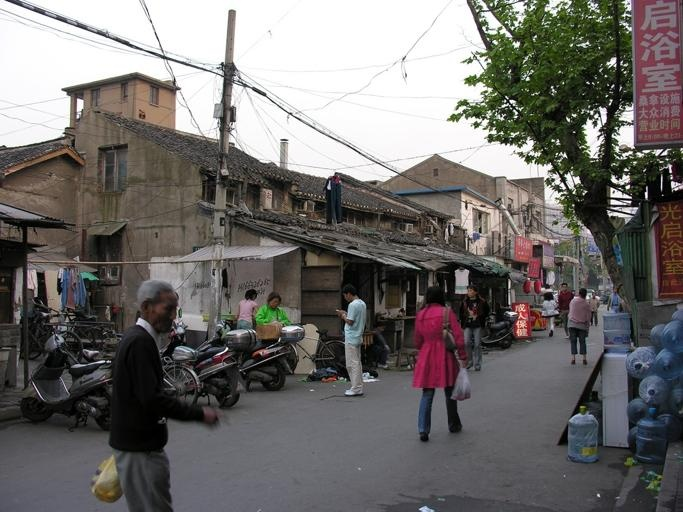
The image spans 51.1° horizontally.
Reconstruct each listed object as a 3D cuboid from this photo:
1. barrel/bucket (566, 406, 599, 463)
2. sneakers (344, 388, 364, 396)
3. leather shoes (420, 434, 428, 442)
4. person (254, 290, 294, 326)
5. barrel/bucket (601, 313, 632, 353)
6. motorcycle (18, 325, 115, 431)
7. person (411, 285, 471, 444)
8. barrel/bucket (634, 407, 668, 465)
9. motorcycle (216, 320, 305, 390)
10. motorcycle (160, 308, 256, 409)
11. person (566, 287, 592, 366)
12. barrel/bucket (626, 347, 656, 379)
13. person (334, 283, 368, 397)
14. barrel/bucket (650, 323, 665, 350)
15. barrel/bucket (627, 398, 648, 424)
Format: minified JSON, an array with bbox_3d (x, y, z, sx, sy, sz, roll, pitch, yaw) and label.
[{"bbox_3d":[3.235,2.441,9.615,0.414,0.648,0.209,-3,-5,8],"label":"barrel/bucket"},{"bbox_3d":[0.249,2.648,13.883,0.350,0.159,0.145,4,-6,-3],"label":"sneakers"},{"bbox_3d":[1.207,2.677,10.513,0.113,0.110,0.095,0,1,-6],"label":"leather shoes"},{"bbox_3d":[-1.476,1.198,15.510,0.834,0.785,0.577,5,-6,-33],"label":"person"},{"bbox_3d":[4.054,1.136,10.523,0.398,0.592,0.431,-2,-5,0],"label":"barrel/bucket"},{"bbox_3d":[-4.282,1.976,11.564,1.771,1.447,0.695,-1,-4,16],"label":"motorcycle"},{"bbox_3d":[1.486,1.590,10.879,0.790,2.302,0.828,-3,-5,9],"label":"person"},{"bbox_3d":[4.090,2.375,9.467,0.406,0.713,0.233,-5,-5,25],"label":"barrel/bucket"},{"bbox_3d":[-1.646,2.048,14.806,2.194,1.463,0.859,-10,-23,43],"label":"motorcycle"},{"bbox_3d":[-2.936,1.919,13.336,0.891,1.987,2.575,-12,-4,-45],"label":"motorcycle"},{"bbox_3d":[5.755,1.689,17.356,0.591,1.826,0.579,4,-6,-2],"label":"person"},{"bbox_3d":[4.110,1.470,9.835,0.385,0.426,0.270,-5,-6,25],"label":"barrel/bucket"},{"bbox_3d":[0.228,1.652,14.067,0.494,2.161,1.054,-2,-5,-1],"label":"person"},{"bbox_3d":[4.334,1.129,9.985,0.281,0.308,0.289,0,4,0],"label":"barrel/bucket"},{"bbox_3d":[3.977,2.102,9.669,0.154,0.307,0.299,1,36,9],"label":"barrel/bucket"}]
